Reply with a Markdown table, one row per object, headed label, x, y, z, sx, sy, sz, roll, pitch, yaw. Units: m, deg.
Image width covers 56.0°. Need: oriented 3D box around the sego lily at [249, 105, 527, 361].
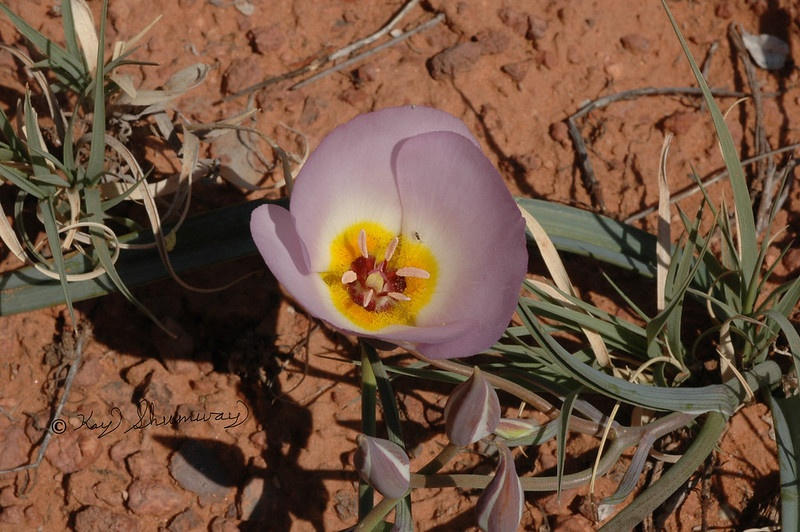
| label | x | y | z | sx | sy | sz | roll | pitch | yaw |
| --- | --- | --- | --- | --- | --- | --- | --- | --- | --- |
| sego lily | -0.027 | -0.124 | 2.709 | 0.938 | 0.734 | 0.596 | -2 | 28 | 4 |
